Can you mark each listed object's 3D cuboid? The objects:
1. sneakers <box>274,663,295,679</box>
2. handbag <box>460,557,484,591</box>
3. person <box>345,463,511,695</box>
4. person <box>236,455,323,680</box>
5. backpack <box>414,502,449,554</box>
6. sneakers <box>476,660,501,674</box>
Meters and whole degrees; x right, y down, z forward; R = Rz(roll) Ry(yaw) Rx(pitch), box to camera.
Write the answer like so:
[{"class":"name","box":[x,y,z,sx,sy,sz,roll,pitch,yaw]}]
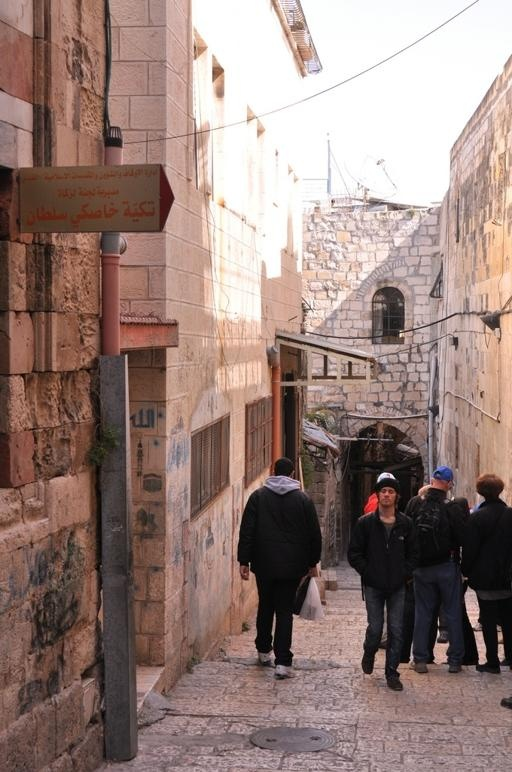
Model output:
[{"class":"sneakers","box":[0.185,1.884,5.598,0.049,0.104,0.174,-1,-13,15]},{"class":"handbag","box":[1.423,1.241,5.620,0.121,0.217,0.189,-1,-4,21]},{"class":"person","box":[1.189,1.233,5.629,1.157,1.392,0.663,1,-3,-7]},{"class":"person","box":[0.151,1.228,5.835,0.580,1.459,0.516,0,-3,15]},{"class":"backpack","box":[1.150,0.945,5.579,0.176,0.325,0.161,0,-22,3]},{"class":"sneakers","box":[1.570,1.897,5.766,0.153,0.107,0.068,6,0,16]}]
